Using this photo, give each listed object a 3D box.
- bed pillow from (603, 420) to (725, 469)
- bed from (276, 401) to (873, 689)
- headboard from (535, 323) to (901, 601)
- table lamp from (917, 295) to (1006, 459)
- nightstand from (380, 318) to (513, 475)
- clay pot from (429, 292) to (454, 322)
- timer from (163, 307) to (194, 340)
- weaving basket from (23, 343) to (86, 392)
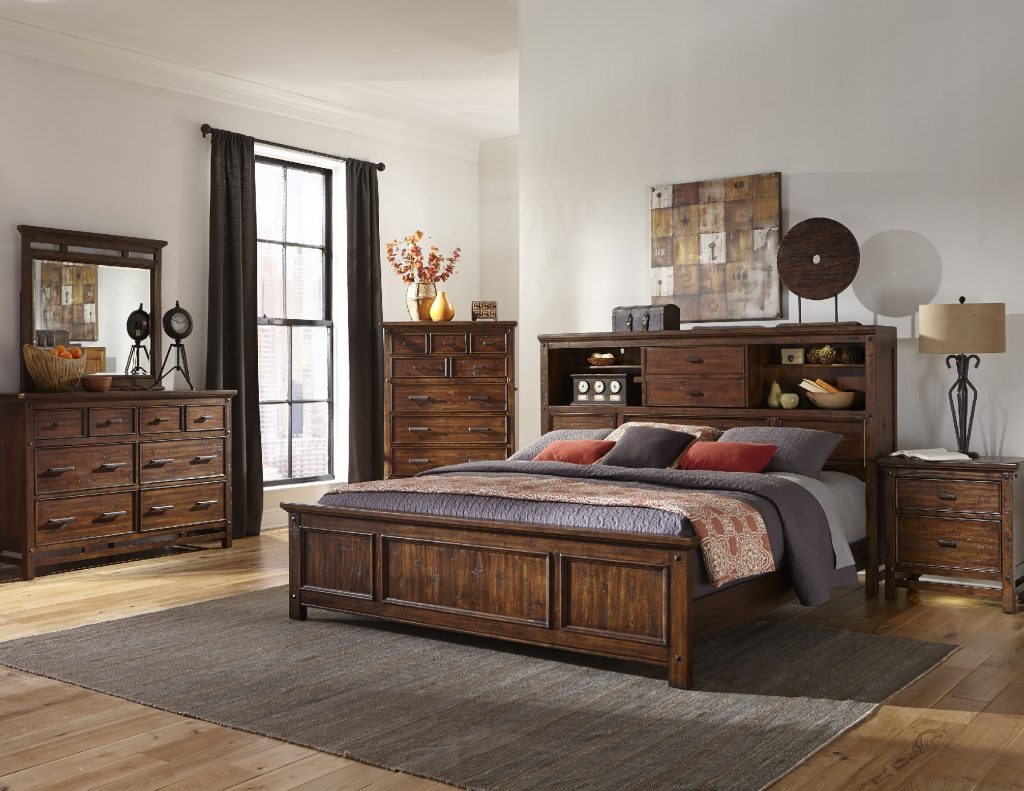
[{"bbox_3d":[0.751,0.297,4.477,0.384,0.099,0.359,-1,27,29],"label":"bed pillow"},{"bbox_3d":[0.515,0.634,4.428,2.924,0.846,2.994,-1,0,15],"label":"bed"},{"bbox_3d":[1.252,0.332,5.274,2.227,1.411,0.604,0,-4,29],"label":"headboard"},{"bbox_3d":[2.486,-0.112,4.445,0.408,0.873,0.398,1,5,30],"label":"table lamp"},{"bbox_3d":[-0.399,0.115,6.265,1.156,1.392,0.587,0,1,18],"label":"nightstand"},{"bbox_3d":[-0.556,-0.687,6.212,0.166,0.204,0.104,1,5,35],"label":"clay pot"},{"bbox_3d":[-2.520,-0.544,6.062,0.205,0.276,0.119,-4,5,-29],"label":"timer"},{"bbox_3d":[-2.960,-0.162,5.248,0.323,0.256,0.357,-7,-10,42],"label":"weaving basket"}]
